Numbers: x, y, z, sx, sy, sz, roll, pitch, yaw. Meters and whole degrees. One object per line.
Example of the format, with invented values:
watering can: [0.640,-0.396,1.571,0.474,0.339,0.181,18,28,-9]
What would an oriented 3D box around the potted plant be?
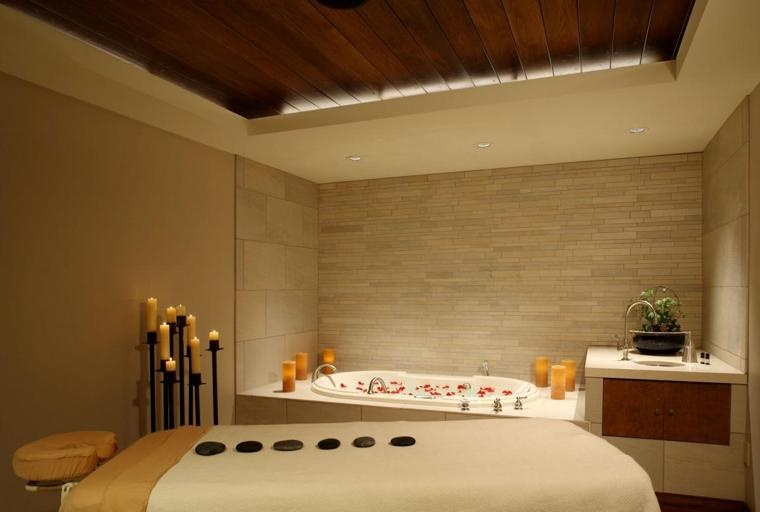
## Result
potted plant: [2.265,0.530,4.225,0.484,0.640,0.668,-2,-11,24]
